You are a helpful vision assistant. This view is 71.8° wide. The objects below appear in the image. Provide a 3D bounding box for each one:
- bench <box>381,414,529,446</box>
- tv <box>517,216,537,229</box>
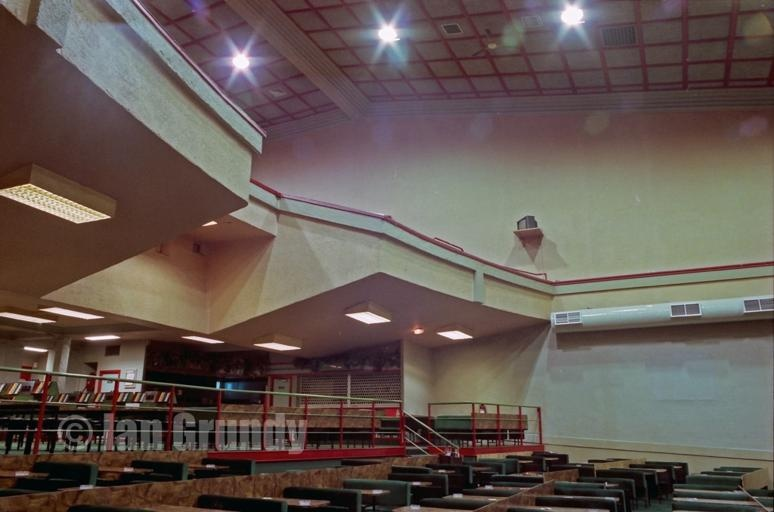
[{"bbox_3d":[2.158,4.976,15.363,4.867,0.868,2.246,10,-20,-29],"label":"bench"},{"bbox_3d":[4.576,-1.005,17.677,0.524,0.523,0.654,4,-9,-11],"label":"tv"}]
